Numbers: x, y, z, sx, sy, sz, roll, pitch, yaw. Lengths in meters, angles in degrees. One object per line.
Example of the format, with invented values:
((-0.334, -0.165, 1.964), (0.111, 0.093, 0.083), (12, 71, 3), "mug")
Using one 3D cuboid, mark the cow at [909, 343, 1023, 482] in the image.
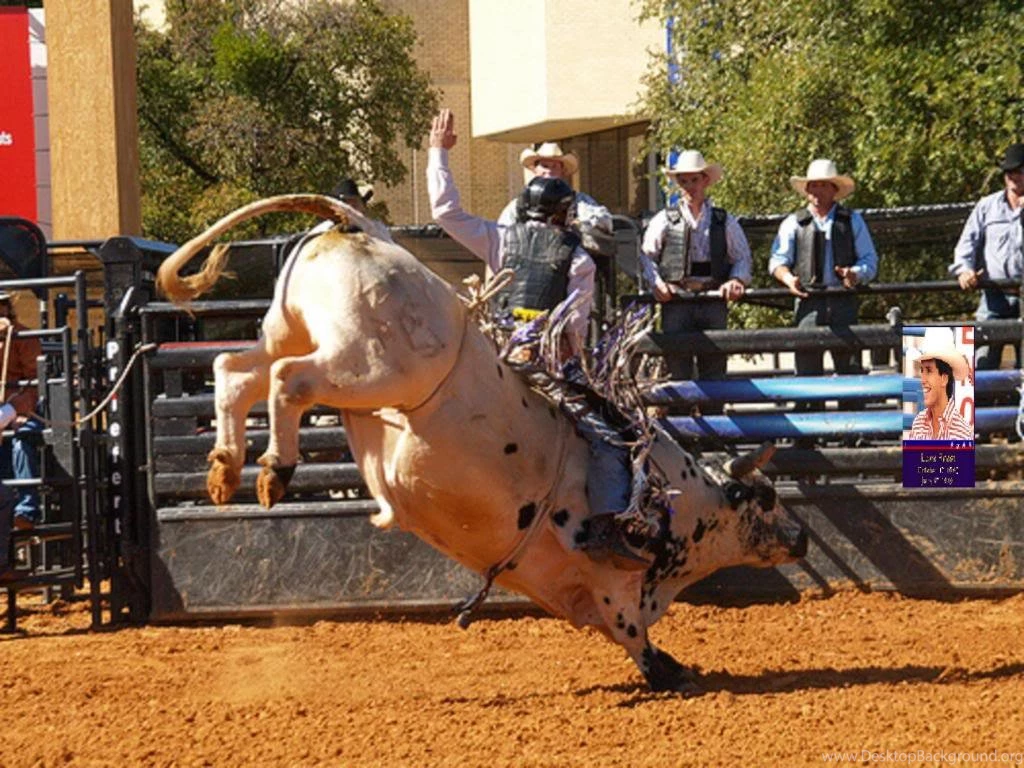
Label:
((4.095, 0.280, 15.906), (0.297, 1.270, 0.668), (5, -3, -15), "cow")
